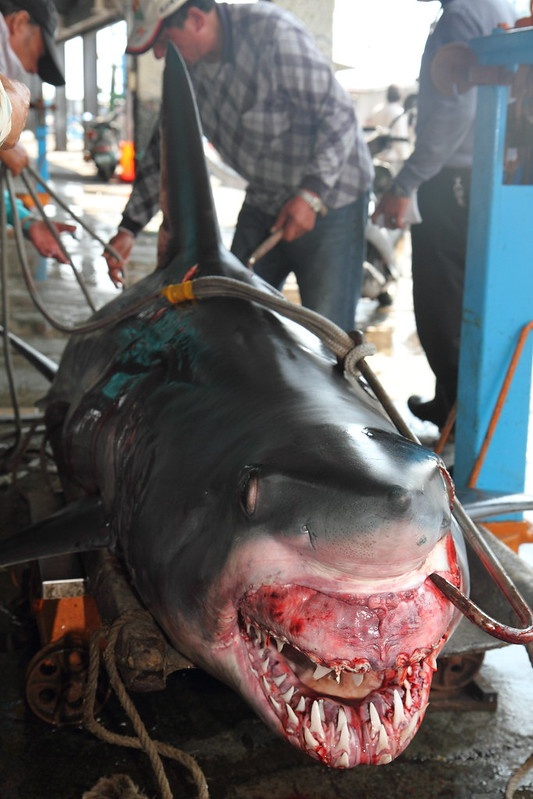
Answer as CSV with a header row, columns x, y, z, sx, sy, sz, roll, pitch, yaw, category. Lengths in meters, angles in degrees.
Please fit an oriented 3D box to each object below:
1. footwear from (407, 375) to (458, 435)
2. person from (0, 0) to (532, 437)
x,y,z,sx,sy,sz,roll,pitch,yaw,category
0.774,0.051,4.007,0.154,0.265,0.433,-15,10,-26,footwear
0.269,-0.933,3.658,2.645,1.397,1.095,8,8,-15,person
